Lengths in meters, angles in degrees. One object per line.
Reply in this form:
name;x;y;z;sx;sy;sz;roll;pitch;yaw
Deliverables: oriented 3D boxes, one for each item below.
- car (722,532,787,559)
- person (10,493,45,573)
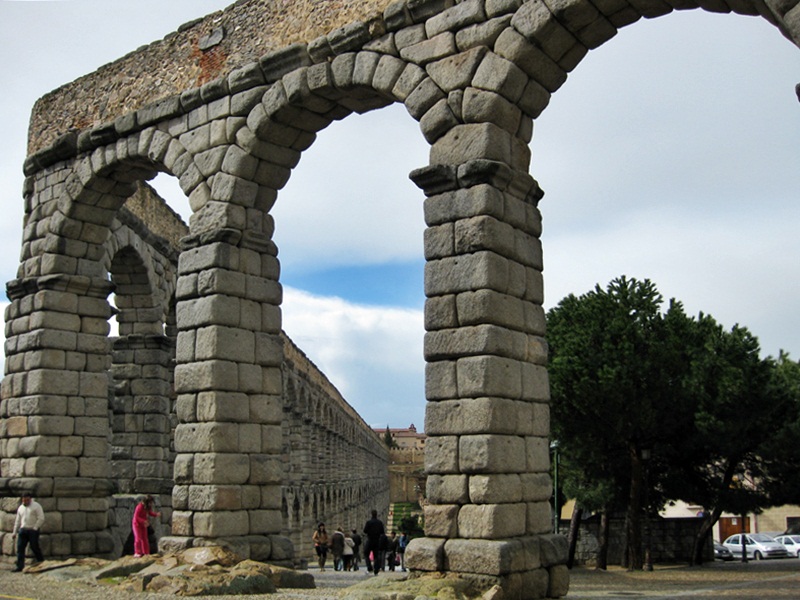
car;12.875;8.778;34.729;2.019;1.081;4.176;-8;-20;17
person;-6.829;4.276;17.790;0.539;1.418;0.558;6;-20;-21
